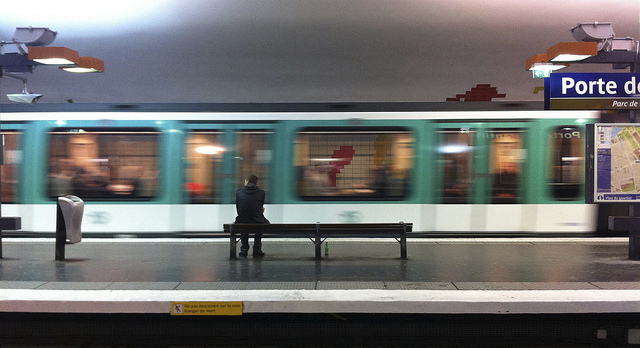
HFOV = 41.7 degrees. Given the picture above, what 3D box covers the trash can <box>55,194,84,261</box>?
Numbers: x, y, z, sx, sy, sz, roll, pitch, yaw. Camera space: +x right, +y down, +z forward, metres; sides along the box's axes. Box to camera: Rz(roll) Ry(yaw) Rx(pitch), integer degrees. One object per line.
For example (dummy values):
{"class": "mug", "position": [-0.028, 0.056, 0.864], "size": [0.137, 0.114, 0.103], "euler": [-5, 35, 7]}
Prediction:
{"class": "trash can", "position": [-6.371, 1.343, 21.762], "size": [0.749, 1.506, 0.628], "euler": [-1, 0, 9]}
